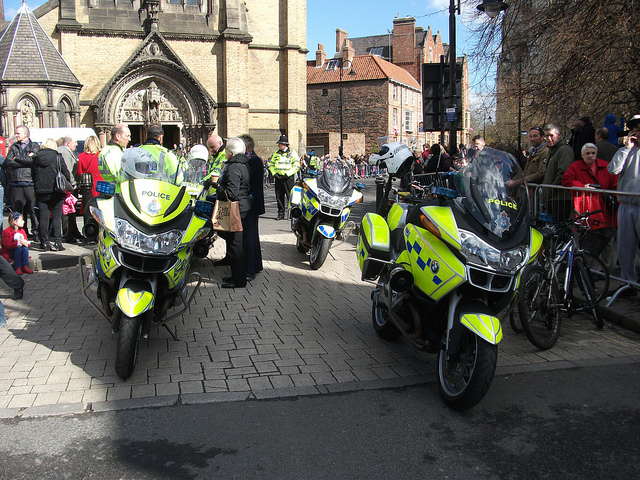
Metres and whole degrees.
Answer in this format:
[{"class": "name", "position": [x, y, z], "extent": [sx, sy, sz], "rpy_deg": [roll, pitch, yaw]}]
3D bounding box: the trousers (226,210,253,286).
[{"class": "trousers", "position": [-1.291, 0.269, 8.589], "extent": [0.289, 0.851, 0.221], "rpy_deg": [-2, 10, -12]}]

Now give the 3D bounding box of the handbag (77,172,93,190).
[{"class": "handbag", "position": [-4.583, -1.180, 10.869], "extent": [0.362, 0.320, 0.541], "rpy_deg": [1, 13, -9]}]

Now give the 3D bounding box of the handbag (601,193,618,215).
[{"class": "handbag", "position": [4.145, -0.522, 7.950], "extent": [0.090, 0.296, 0.203], "rpy_deg": [-9, 4, 15]}]

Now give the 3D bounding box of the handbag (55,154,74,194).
[{"class": "handbag", "position": [-5.306, -1.356, 11.487], "extent": [0.299, 0.797, 0.264], "rpy_deg": [1, 10, 4]}]

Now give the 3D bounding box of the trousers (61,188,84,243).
[{"class": "trousers", "position": [-5.440, -0.547, 12.181], "extent": [0.348, 1.078, 1.471], "rpy_deg": [6, 1, -17]}]

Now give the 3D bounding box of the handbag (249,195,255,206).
[{"class": "handbag", "position": [-1.108, -0.662, 9.065], "extent": [0.034, 0.119, 0.078], "rpy_deg": [-4, 7, 33]}]

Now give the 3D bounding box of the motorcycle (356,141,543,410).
[{"class": "motorcycle", "position": [1.103, 0.268, 5.501], "extent": [1.098, 2.354, 1.910], "rpy_deg": [-8, 13, -38]}]

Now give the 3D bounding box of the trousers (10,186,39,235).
[{"class": "trousers", "position": [-6.415, -0.631, 12.073], "extent": [0.469, 1.129, 0.821], "rpy_deg": [-5, 12, -29]}]

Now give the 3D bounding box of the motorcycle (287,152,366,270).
[{"class": "motorcycle", "position": [0.132, -0.514, 10.058], "extent": [0.899, 1.971, 1.339], "rpy_deg": [-5, 12, -28]}]

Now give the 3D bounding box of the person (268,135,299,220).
[{"class": "person", "position": [-1.065, -1.836, 16.540], "extent": [0.834, 2.582, 0.692], "rpy_deg": [2, 18, 9]}]

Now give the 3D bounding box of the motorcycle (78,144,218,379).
[{"class": "motorcycle", "position": [-1.820, 0.184, 5.734], "extent": [1.205, 2.181, 1.128], "rpy_deg": [-5, 11, -25]}]

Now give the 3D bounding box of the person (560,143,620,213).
[{"class": "person", "position": [4.166, -0.782, 8.448], "extent": [0.776, 1.353, 0.655], "rpy_deg": [-11, 4, 15]}]

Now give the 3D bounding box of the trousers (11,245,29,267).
[{"class": "trousers", "position": [-5.062, 0.260, 9.351], "extent": [0.175, 0.363, 0.685], "rpy_deg": [0, 0, -10]}]
